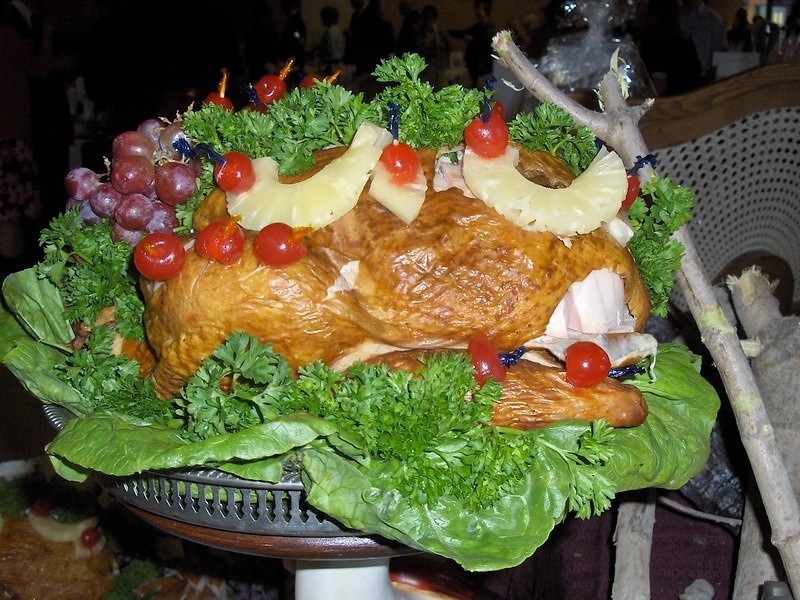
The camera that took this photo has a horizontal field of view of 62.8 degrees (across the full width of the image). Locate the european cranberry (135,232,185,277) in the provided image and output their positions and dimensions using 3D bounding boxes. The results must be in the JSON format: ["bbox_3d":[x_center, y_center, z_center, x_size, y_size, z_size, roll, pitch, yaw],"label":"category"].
[{"bbox_3d":[-0.831,-0.154,2.309,0.147,0.163,0.147,-7,6,-9],"label":"european cranberry"}]

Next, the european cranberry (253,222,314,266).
[{"bbox_3d":[-0.411,-0.188,2.306,0.173,0.136,0.143,-26,-9,2],"label":"european cranberry"}]

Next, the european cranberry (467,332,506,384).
[{"bbox_3d":[0.290,0.197,2.198,0.094,0.052,0.162,-8,66,-13],"label":"european cranberry"}]

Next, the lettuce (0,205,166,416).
[{"bbox_3d":[-1.203,0.154,2.734,0.795,0.302,0.822,19,34,-38],"label":"lettuce"}]

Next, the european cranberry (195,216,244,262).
[{"bbox_3d":[-0.619,-0.204,2.325,0.150,0.161,0.151,6,64,-3],"label":"european cranberry"}]

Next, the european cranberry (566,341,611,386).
[{"bbox_3d":[0.664,0.237,2.309,0.199,0.164,0.188,2,4,20],"label":"european cranberry"}]

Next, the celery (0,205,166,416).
[{"bbox_3d":[-1.269,0.048,2.642,0.795,0.302,0.822,19,34,-38],"label":"celery"}]

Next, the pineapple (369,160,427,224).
[{"bbox_3d":[-0.012,-0.384,2.435,0.212,0.211,0.077,-47,1,-11],"label":"pineapple"}]
